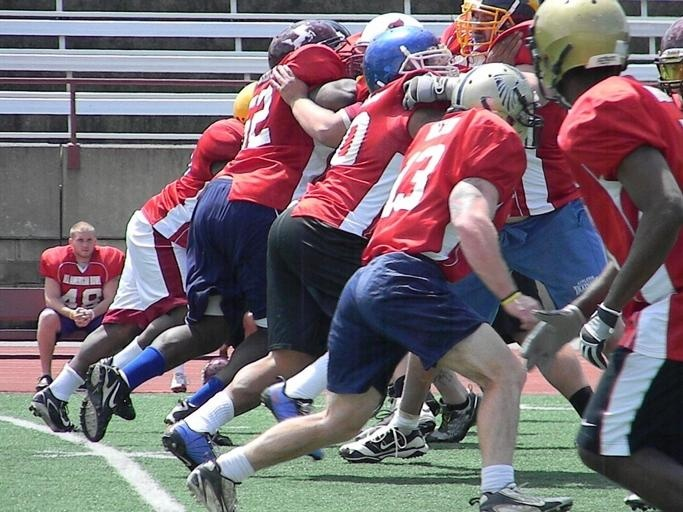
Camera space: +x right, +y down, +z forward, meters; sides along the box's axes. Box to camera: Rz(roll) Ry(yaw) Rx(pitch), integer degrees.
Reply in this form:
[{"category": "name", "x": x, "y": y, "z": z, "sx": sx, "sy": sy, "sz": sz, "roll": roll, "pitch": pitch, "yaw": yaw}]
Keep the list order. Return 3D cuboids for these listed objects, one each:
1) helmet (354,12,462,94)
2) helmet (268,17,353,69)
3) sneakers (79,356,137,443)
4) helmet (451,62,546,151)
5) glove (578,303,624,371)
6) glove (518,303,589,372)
[{"category": "helmet", "x": 0.302, "y": -0.967, "z": 4.786, "sx": 0.510, "sy": 0.341, "sz": 0.363, "roll": -10, "pitch": 7, "yaw": 10}, {"category": "helmet", "x": -0.206, "y": -1.190, "z": 5.503, "sx": 0.390, "sy": 0.267, "sz": 0.277, "roll": -23, "pitch": 9, "yaw": -6}, {"category": "sneakers", "x": -1.220, "y": 0.753, "z": 5.389, "sx": 0.218, "sy": 0.484, "sz": 0.284, "roll": 14, "pitch": 17, "yaw": 37}, {"category": "helmet", "x": 0.660, "y": -0.683, "z": 4.345, "sx": 0.398, "sy": 0.278, "sz": 0.281, "roll": 3, "pitch": 11, "yaw": -11}, {"category": "glove", "x": 0.879, "y": 0.269, "z": 3.456, "sx": 0.113, "sy": 0.233, "sz": 0.179, "roll": 45, "pitch": 2, "yaw": 24}, {"category": "glove", "x": 0.714, "y": 0.279, "z": 3.491, "sx": 0.255, "sy": 0.153, "sz": 0.070, "roll": -37, "pitch": 11, "yaw": -6}]
